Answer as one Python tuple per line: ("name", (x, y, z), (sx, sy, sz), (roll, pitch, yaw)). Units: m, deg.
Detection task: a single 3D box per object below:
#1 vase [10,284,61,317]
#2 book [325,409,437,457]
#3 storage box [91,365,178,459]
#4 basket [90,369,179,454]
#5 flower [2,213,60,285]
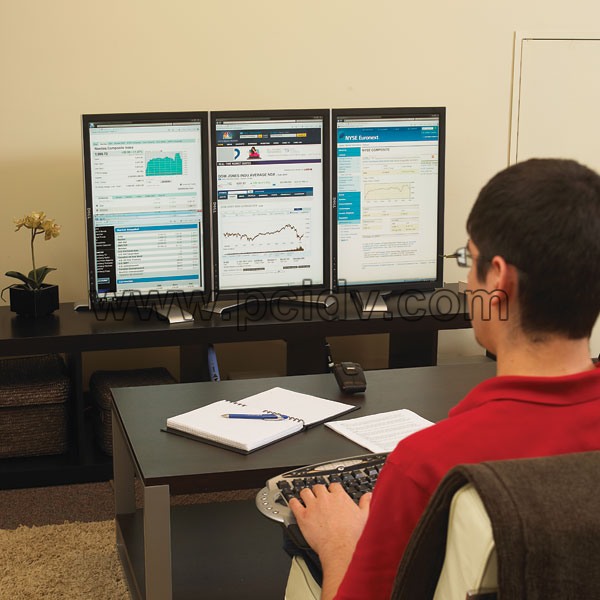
("vase", (-1.196, -0.016, 2.592), (0.160, 0.124, 0.153), (3, 4, 36))
("book", (0.188, 0.289, 1.316), (0.158, 0.020, 0.175), (-6, 15, -29))
("storage box", (-0.778, 0.414, 2.615), (0.421, 0.296, 0.430), (-2, 11, -17))
("basket", (-0.771, 0.405, 2.596), (0.422, 0.296, 0.431), (-2, 11, -17))
("flower", (-1.265, -0.225, 2.720), (0.248, 0.396, 0.589), (-4, 15, -22))
